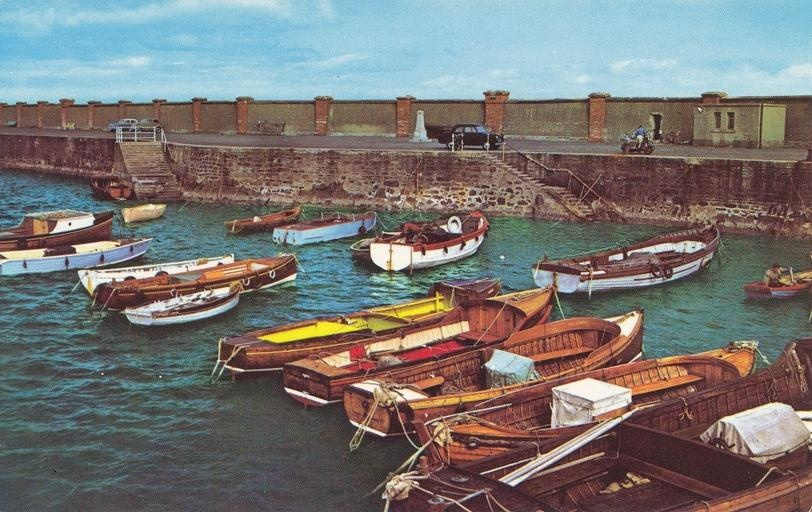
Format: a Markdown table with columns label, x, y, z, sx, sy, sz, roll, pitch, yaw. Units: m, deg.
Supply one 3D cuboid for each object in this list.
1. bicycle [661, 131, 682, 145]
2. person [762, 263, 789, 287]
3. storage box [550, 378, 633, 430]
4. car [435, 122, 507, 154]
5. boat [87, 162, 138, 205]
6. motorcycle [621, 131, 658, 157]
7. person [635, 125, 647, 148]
| label | x | y | z | sx | sy | sz | roll | pitch | yaw |
| --- | --- | --- | --- | --- | --- | --- | --- | --- | --- |
| bicycle | 17.845 | -7.981 | 56.154 | 1.212 | 0.721 | 0.693 | 15 | 19 | 38 |
| person | 14.797 | 0.824 | 33.528 | 0.997 | 0.867 | 0.637 | -7 | 19 | -25 |
| storage box | 4.901 | 3.980 | 22.582 | 1.541 | 0.868 | 1.507 | -4 | 3 | -32 |
| car | 4.073 | -7.152 | 50.531 | 3.582 | 1.164 | 1.904 | 2 | 15 | 3 |
| boat | -19.618 | -4.783 | 55.149 | 2.059 | 1.319 | 5.221 | -13 | 24 | -33 |
| motorcycle | 13.352 | -6.471 | 48.023 | 2.139 | 1.126 | 1.188 | 2 | 11 | 6 |
| person | 13.623 | -6.853 | 48.360 | 0.702 | 1.088 | 1.472 | -2 | 10 | 15 |
